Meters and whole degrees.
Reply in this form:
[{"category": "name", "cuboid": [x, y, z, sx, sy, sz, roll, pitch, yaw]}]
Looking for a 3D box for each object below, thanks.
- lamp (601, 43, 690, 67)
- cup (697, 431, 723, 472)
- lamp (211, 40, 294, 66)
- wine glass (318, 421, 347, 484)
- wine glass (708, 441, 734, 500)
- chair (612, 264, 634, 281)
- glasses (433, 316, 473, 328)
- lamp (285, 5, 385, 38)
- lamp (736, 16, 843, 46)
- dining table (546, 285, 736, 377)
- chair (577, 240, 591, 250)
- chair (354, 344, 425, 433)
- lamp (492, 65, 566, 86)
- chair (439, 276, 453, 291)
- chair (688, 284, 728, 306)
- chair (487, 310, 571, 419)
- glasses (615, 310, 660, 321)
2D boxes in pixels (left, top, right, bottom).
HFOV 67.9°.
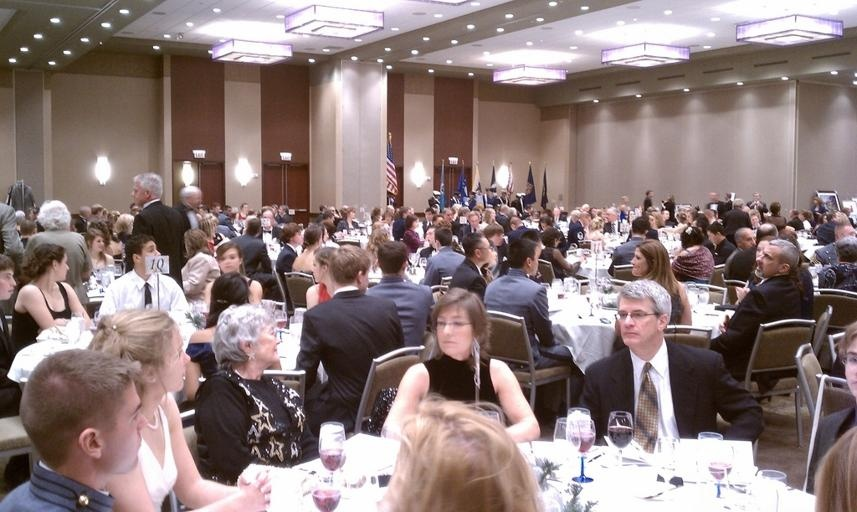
[{"category": "lamp", "cuboid": [6.011, -5.640, 17.774, 2.088, 0.477, 1.390, -2, 4, -31]}, {"category": "cup", "cuboid": [1.406, 0.977, 3.146, 0.134, 0.160, 0.138, 1, -5, 0]}, {"category": "lamp", "cuboid": [-5.083, -5.591, 17.644, 1.245, 0.297, 1.139, 0, 1, -42]}, {"category": "wine glass", "cuboid": [-0.483, 0.963, 3.136, 0.113, 0.300, 0.227, 0, 4, -9]}, {"category": "wine glass", "cuboid": [1.409, 0.998, 3.089, 0.121, 0.167, 0.112, 1, 4, 4]}, {"category": "chair", "cuboid": [2.739, 0.197, 8.949, 0.271, 0.301, 0.278, 6, 8, 36]}, {"category": "glasses", "cuboid": [0.132, 0.408, 3.885, 0.232, 0.079, 0.067, 1, 4, 15]}, {"category": "lamp", "cuboid": [-2.310, -5.527, 15.165, 1.315, 0.320, 1.186, -1, 1, -44]}, {"category": "lamp", "cuboid": [8.218, -5.227, 14.855, 1.330, 0.333, 1.239, 3, -5, -38]}, {"category": "dining table", "cuboid": [1.755, 0.659, 6.242, 1.217, 0.307, 1.085, -9, 12, -35]}, {"category": "chair", "cuboid": [3.073, -0.204, 12.575, 0.210, 0.162, 0.216, 4, 3, 31]}, {"category": "chair", "cuboid": [-0.314, 0.986, 4.471, 0.497, 0.610, 0.916, 1, 4, 5]}, {"category": "lamp", "cuboid": [3.305, -5.997, 20.890, 1.675, 0.597, 1.647, -3, 5, -39]}, {"category": "chair", "cuboid": [0.192, 0.336, 7.514, 0.127, 0.186, 0.153, 0, -1, 44]}, {"category": "chair", "cuboid": [3.031, 0.434, 6.930, 0.242, 0.325, 0.265, 2, 7, 10]}, {"category": "chair", "cuboid": [0.948, 1.060, 5.992, 0.905, 1.117, 0.473, -3, 5, -42]}, {"category": "glasses", "cuboid": [1.307, 0.371, 4.003, 0.236, 0.065, 0.094, 2, 4, 27]}]
